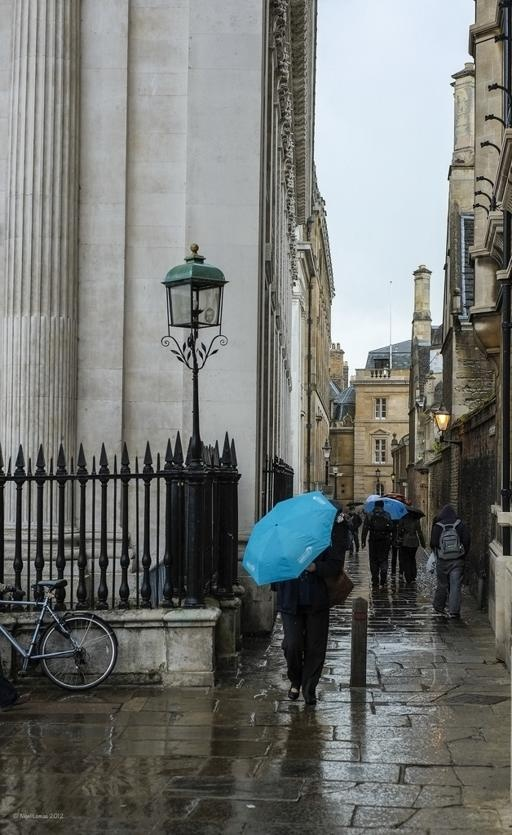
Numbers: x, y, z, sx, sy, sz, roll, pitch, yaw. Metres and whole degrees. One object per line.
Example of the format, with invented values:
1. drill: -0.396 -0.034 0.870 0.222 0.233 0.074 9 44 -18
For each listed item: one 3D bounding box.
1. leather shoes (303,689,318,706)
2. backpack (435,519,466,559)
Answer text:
1. leather shoes: 0.418 2.128 10.050 0.069 0.141 0.119 0 -7 -3
2. backpack: 2.485 1.584 16.771 0.398 0.729 0.377 -4 -35 8
